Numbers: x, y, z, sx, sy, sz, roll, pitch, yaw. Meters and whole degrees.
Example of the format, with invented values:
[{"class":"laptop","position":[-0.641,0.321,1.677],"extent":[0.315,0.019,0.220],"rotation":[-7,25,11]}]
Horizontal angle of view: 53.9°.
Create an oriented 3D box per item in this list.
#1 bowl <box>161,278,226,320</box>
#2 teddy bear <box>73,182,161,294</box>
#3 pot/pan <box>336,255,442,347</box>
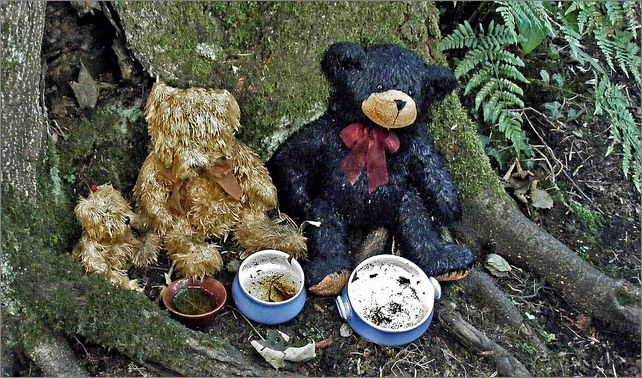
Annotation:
[{"class":"bowl","position":[-1.128,0.993,5.525],"extent":[0.515,0.192,0.525],"rotation":[11,26,-6]},{"class":"teddy bear","position":[-1.789,0.462,5.572],"extent":[0.573,0.896,0.883],"rotation":[21,34,9]},{"class":"pot/pan","position":[0.622,1.078,5.839],"extent":[1.017,0.408,0.890],"rotation":[-9,12,-18]}]
